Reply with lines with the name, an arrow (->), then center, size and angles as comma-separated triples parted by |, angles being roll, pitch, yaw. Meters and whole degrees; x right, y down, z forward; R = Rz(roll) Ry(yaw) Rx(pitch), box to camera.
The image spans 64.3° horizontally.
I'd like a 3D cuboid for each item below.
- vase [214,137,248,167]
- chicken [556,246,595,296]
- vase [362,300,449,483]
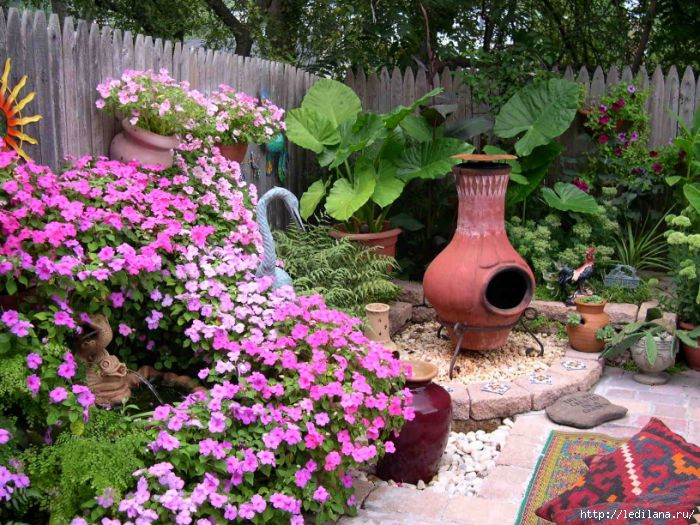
vase -> -0.948, -0.893, 4.505 | 0.185, 0.152, 0.192 | 6, 10, 35
chicken -> 2.246, 0.114, 5.582 | 0.401, 0.563, 0.396 | 0, 14, 2
vase -> 0.418, 0.975, 3.550 | 0.449, 0.828, 0.312 | -5, 14, -31
